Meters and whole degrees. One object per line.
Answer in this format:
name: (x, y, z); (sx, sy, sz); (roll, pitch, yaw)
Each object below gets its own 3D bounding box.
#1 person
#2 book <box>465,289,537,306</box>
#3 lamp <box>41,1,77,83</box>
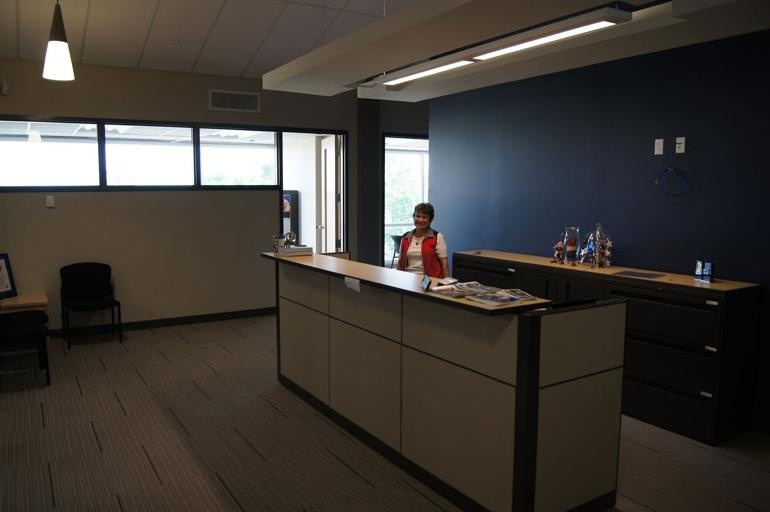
person: (0.454, -0.186, 5.899); (0.429, 0.805, 0.643); (-3, 14, -13)
book: (0.894, 0.309, 3.829); (0.504, 0.055, 0.286); (-2, 14, -7)
lamp: (-2.694, -1.746, 4.116); (0.204, 0.614, 0.457); (-9, 16, -32)
